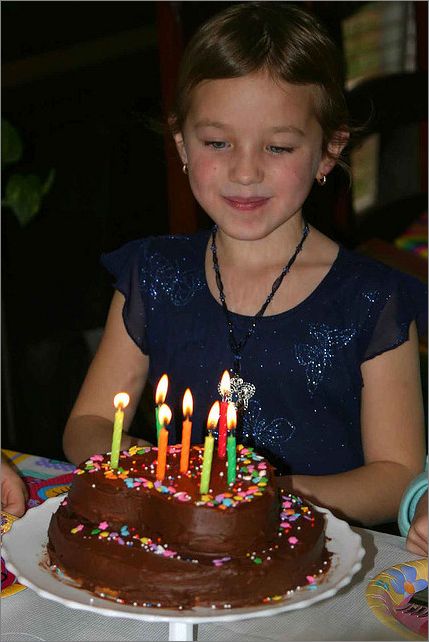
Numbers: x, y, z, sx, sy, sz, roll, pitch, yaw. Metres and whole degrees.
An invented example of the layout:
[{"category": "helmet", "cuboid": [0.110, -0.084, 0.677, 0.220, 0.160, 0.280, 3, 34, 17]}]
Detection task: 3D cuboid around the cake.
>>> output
[{"category": "cake", "cuboid": [-0.025, 0.235, 0.665, 0.332, 0.113, 0.241, 4, 4, -16]}]
